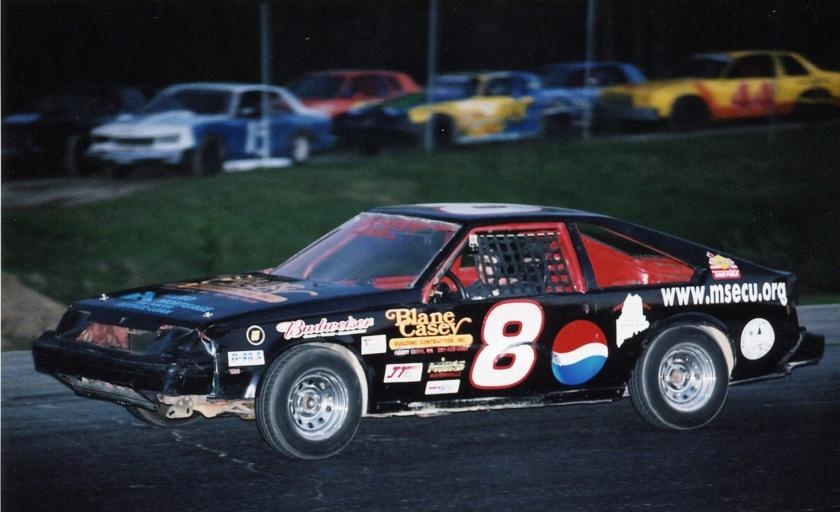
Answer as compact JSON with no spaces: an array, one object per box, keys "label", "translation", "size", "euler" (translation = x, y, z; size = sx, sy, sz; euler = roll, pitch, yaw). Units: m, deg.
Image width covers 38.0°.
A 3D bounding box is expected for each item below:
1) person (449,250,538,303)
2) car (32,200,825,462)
[{"label":"person","translation":[0.775,0.204,12.356],"size":[0.956,0.474,0.199],"euler":[-4,-5,1]},{"label":"car","translation":[0.325,0.696,12.678],"size":[6.769,1.479,3.151],"euler":[3,-1,-21]}]
